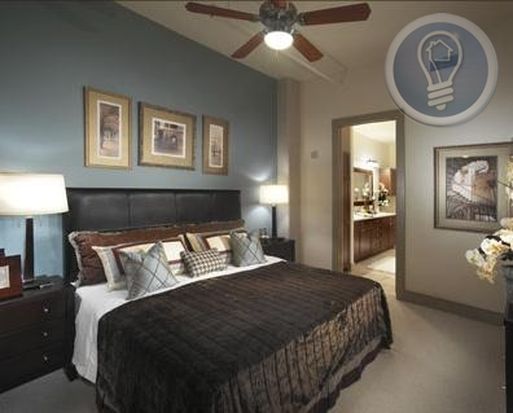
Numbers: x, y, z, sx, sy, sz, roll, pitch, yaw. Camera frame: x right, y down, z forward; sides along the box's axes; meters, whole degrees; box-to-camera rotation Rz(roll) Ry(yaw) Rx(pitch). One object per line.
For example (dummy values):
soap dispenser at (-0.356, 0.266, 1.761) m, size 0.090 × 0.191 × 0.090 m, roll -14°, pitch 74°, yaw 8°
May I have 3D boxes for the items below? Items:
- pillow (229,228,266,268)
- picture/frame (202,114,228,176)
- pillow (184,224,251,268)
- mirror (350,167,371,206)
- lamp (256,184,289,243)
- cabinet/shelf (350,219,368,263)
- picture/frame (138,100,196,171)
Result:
pillow at (-0.129, 0.464, 3.825) m, size 0.356 × 0.379 × 0.109 m, roll -3°, pitch -17°, yaw -32°
picture/frame at (-0.553, -0.782, 4.520) m, size 0.056 × 0.724 × 0.446 m, roll 1°, pitch 4°, yaw 38°
pillow at (-0.475, 0.436, 3.799) m, size 0.444 × 0.367 × 0.128 m, roll -12°, pitch -10°, yaw -12°
mirror at (2.172, -0.420, 7.331) m, size 0.784 × 1.030 × 0.068 m, roll -1°, pitch 1°, yaw -36°
lamp at (0.302, 0.065, 4.877) m, size 0.593 × 1.055 × 0.636 m, roll -1°, pitch 3°, yaw -2°
cabinet/shelf at (1.798, 0.593, 6.146) m, size 0.266 × 0.682 × 0.719 m, roll -1°, pitch -2°, yaw 34°
picture/frame at (-1.065, -0.804, 3.998) m, size 0.030 × 0.840 × 0.796 m, roll -1°, pitch -2°, yaw 42°
